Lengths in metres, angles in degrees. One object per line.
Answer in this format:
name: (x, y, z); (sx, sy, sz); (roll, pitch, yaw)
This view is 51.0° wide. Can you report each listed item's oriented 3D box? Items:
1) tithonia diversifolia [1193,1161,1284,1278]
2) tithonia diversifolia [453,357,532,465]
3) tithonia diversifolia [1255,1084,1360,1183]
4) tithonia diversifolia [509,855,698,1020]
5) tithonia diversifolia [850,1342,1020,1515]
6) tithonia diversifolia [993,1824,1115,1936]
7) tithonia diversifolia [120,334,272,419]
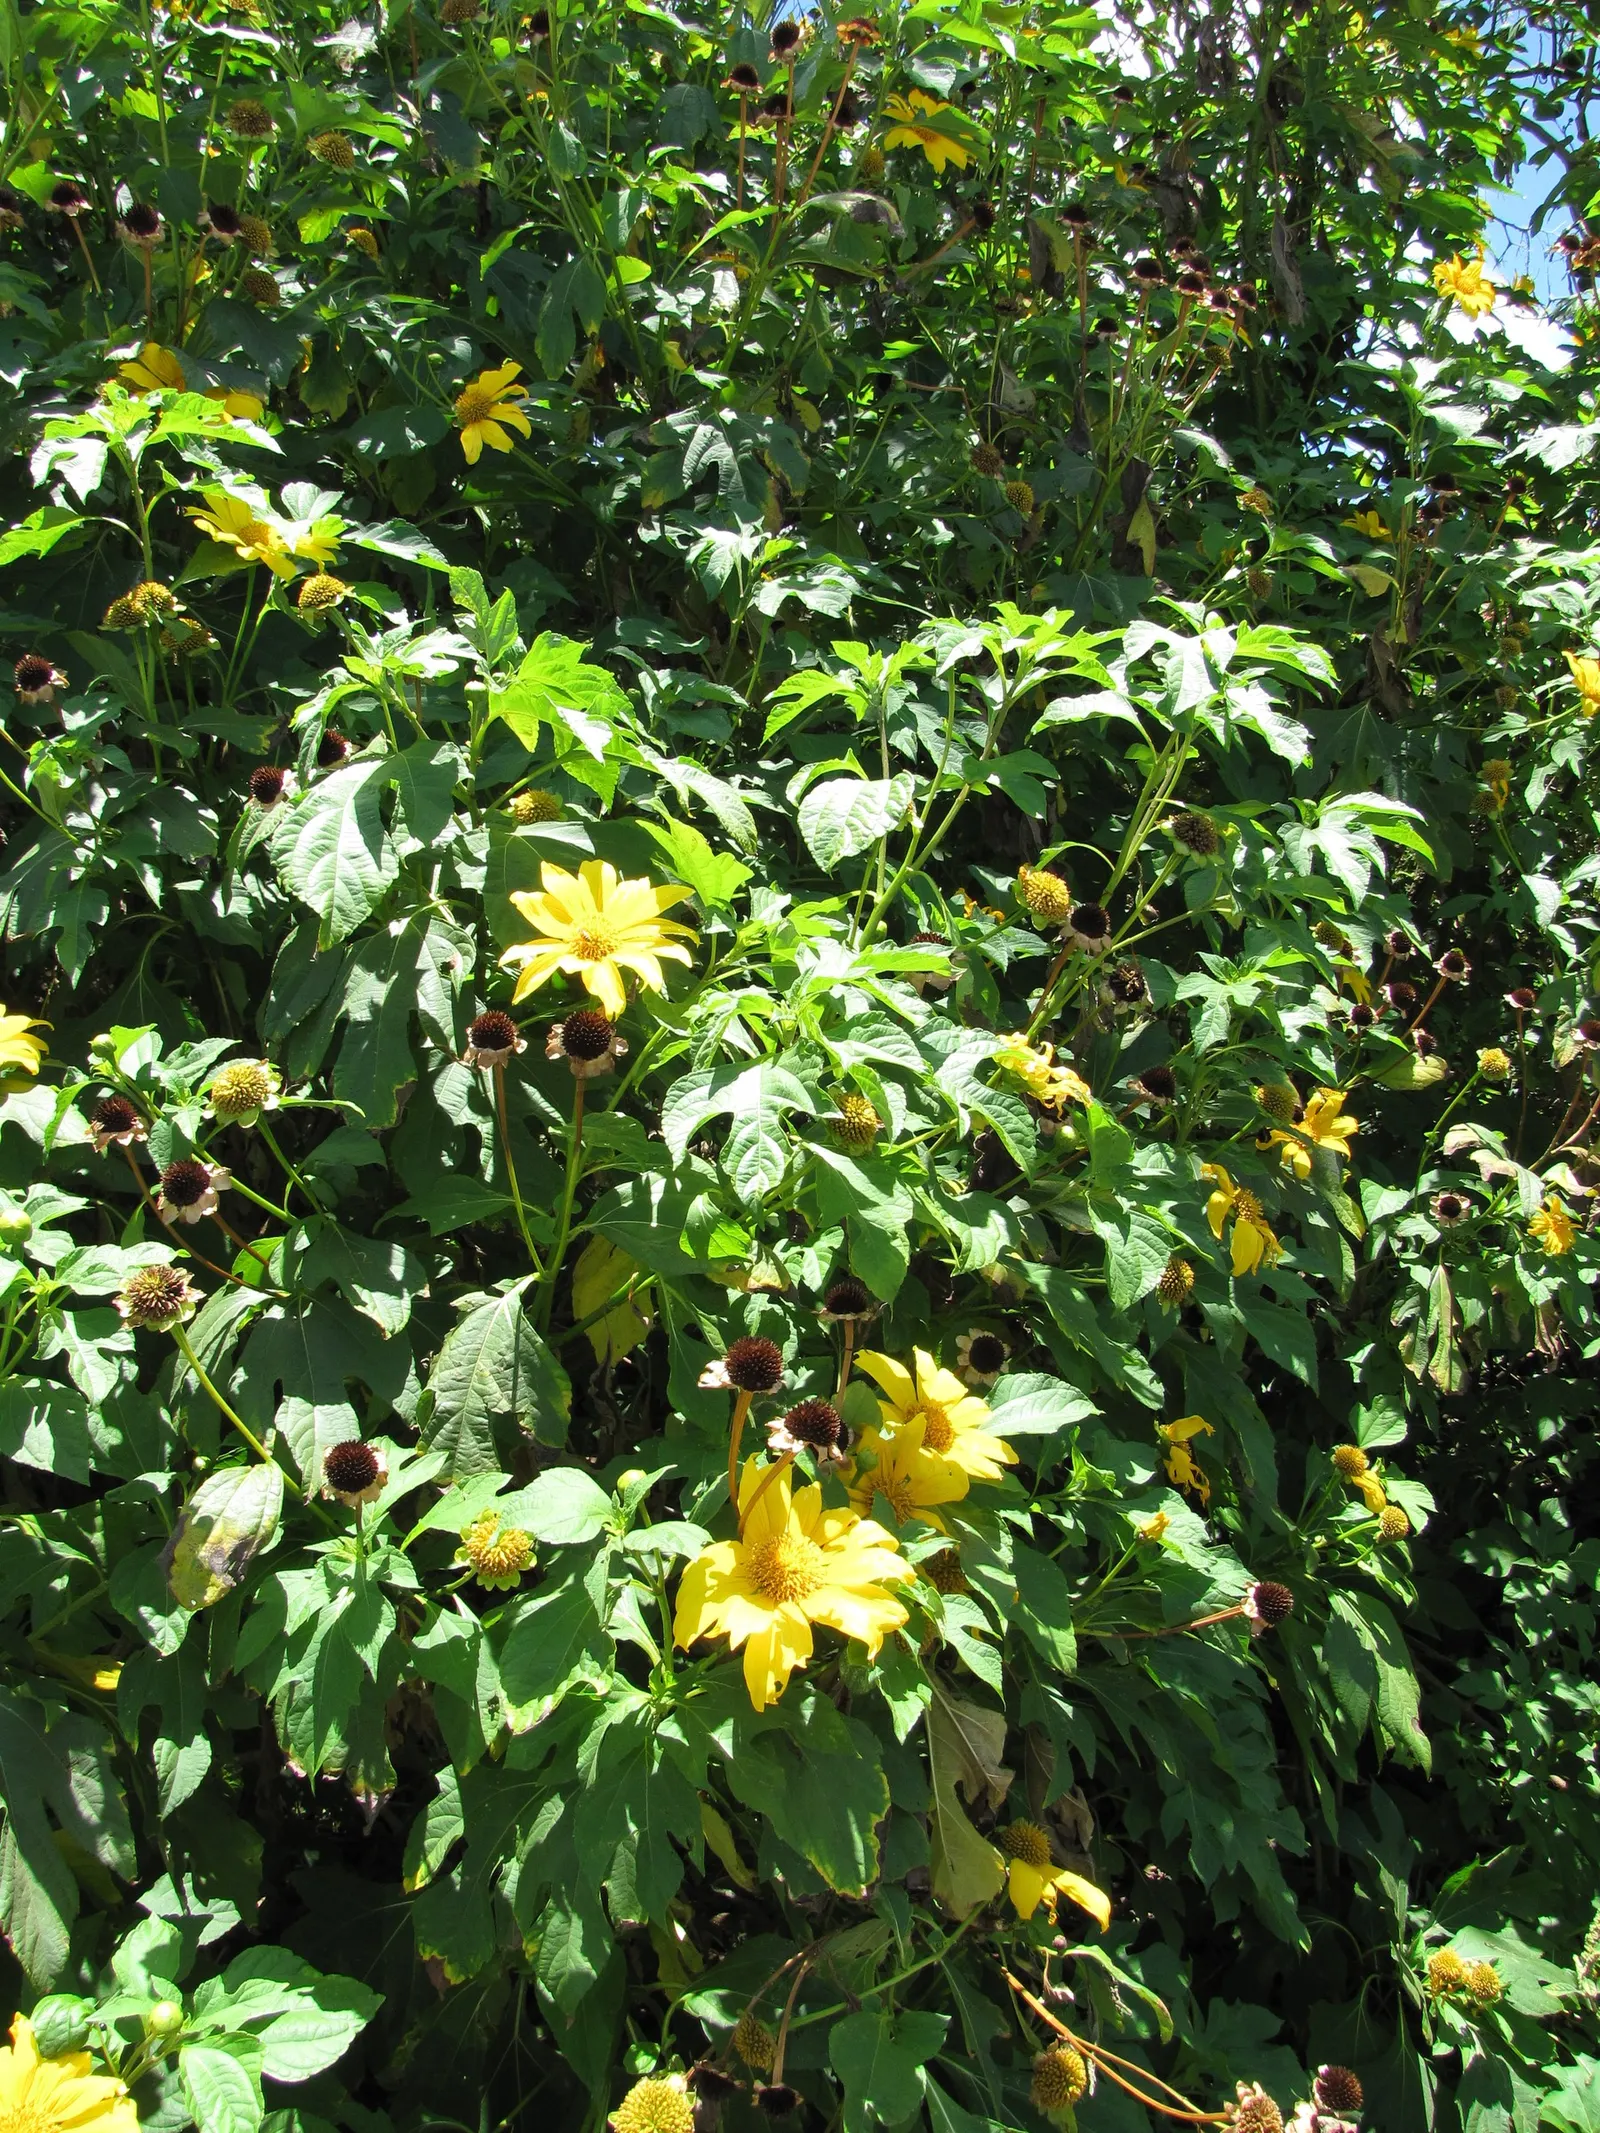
tithonia diversifolia: (0.613, 0.231, 2.501); (0.079, 0.158, 0.168); (-23, -33, 37)
tithonia diversifolia: (-0.468, -0.995, 2.570); (0.113, 0.126, 0.208); (13, 5, -13)
tithonia diversifolia: (0.804, 0.087, 2.646); (0.156, 0.152, 0.073); (23, -40, 31)
tithonia diversifolia: (-0.198, -0.133, 1.669); (0.192, 0.177, 0.060); (13, -41, -7)
tithonia diversifolia: (0.142, 0.364, 1.727); (0.187, 0.171, 0.053); (5, -34, -10)
tithonia diversifolia: (0.311, 0.958, 1.987); (0.151, 0.052, 0.143); (15, 31, -26)
tithonia diversifolia: (-0.810, -0.921, 2.247); (0.188, 0.074, 0.209); (11, 5, -21)
